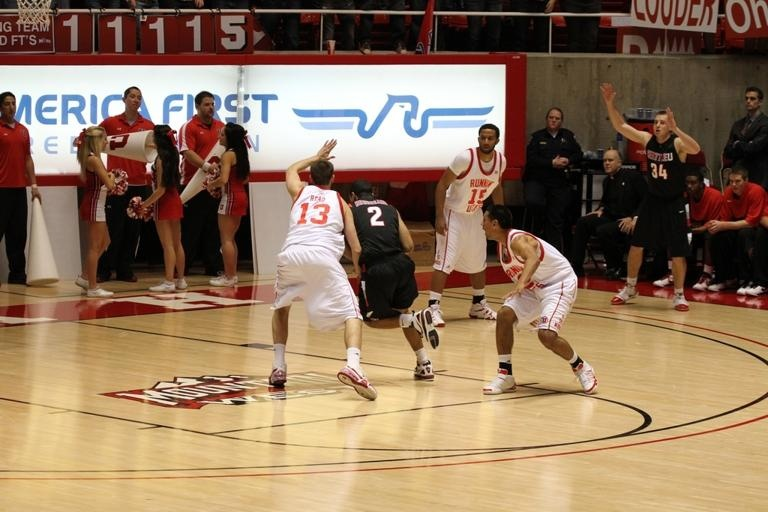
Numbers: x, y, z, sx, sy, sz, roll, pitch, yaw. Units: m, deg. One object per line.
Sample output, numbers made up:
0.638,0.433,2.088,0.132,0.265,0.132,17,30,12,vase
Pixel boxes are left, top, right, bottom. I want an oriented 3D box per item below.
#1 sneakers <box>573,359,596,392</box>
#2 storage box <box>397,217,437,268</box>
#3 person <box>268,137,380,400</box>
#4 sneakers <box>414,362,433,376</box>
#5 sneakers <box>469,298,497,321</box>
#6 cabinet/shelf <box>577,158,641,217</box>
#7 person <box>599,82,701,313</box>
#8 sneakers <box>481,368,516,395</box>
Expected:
1.803,1.062,6.981,0.175,0.267,0.281,4,9,24,sneakers
0.623,-0.212,13.358,0.778,0.866,0.569,0,-5,-18,storage box
-0.555,0.175,6.793,0.717,2.029,1.358,-6,10,-38,person
0.373,1.046,7.240,0.158,0.161,0.141,1,8,0,sneakers
1.216,0.688,9.737,0.387,0.237,0.168,0,14,3,sneakers
3.624,-1.005,12.231,0.801,1.208,0.847,1,2,-39,cabinet/shelf
3.562,-0.625,10.365,1.018,2.576,1.121,4,9,21,person
1.026,1.124,6.953,0.320,0.183,0.143,-3,4,-28,sneakers
